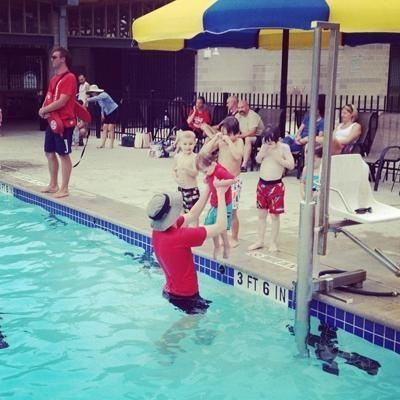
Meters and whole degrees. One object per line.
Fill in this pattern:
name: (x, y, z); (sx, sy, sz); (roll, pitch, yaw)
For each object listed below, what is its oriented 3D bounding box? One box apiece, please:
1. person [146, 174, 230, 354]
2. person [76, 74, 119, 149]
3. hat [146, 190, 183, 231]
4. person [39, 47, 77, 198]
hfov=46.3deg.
person: (-0.097, 0.375, 3.315); (0.563, 1.040, 0.650); (-5, 14, -14)
person: (-2.729, -2.313, 12.893); (0.977, 1.637, 3.229); (-5, 14, -13)
hat: (-0.228, 0.086, 3.018); (0.227, 0.239, 0.143); (-3, 13, -6)
person: (-2.036, -1.078, 6.611); (0.526, 2.037, 0.613); (4, 14, 24)
